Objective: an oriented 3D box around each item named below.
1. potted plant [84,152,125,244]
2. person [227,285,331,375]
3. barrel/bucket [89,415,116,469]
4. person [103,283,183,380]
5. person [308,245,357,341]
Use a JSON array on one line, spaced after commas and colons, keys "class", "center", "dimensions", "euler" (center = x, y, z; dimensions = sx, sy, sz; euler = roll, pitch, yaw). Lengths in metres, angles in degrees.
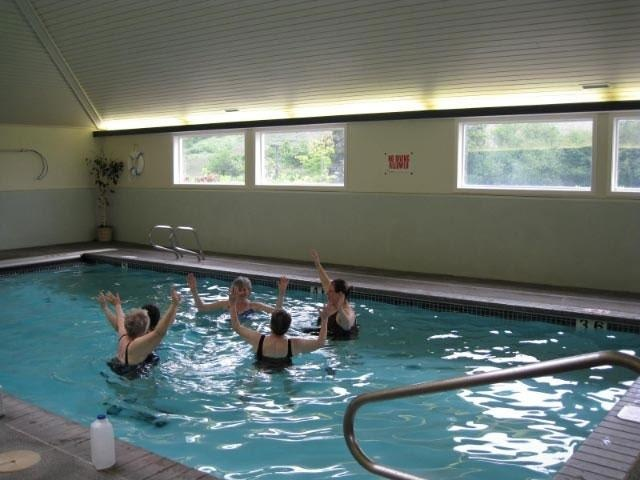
[{"class": "potted plant", "center": [-5.792, -1.159, 11.974], "dimensions": [0.856, 2.316, 0.742], "euler": [10, 18, 40]}, {"class": "person", "center": [-0.465, 1.147, 4.662], "dimensions": [1.117, 1.214, 0.344], "euler": [10, 26, 4]}, {"class": "barrel/bucket", "center": [-1.317, 1.197, 2.668], "dimensions": [0.139, 0.336, 0.194], "euler": [-9, 15, -28]}, {"class": "person", "center": [-1.998, 1.058, 5.016], "dimensions": [0.765, 0.874, 0.308], "euler": [23, 31, 26]}, {"class": "person", "center": [0.207, 0.764, 6.424], "dimensions": [0.570, 0.835, 0.817], "euler": [-12, 34, -4]}]
